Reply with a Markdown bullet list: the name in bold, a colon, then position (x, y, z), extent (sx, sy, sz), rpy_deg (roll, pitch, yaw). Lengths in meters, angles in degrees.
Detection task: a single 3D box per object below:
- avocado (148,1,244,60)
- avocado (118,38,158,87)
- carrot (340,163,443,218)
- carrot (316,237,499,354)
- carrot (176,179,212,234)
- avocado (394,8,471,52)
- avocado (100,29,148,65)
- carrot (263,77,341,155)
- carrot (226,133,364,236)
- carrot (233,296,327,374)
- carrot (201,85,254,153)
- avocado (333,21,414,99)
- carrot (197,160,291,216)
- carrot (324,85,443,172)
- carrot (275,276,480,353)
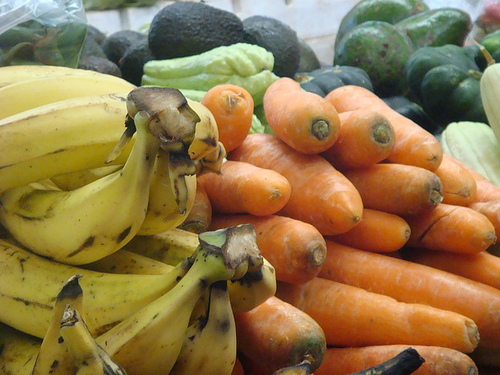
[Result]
- **avocado**: position (-0.208, -0.610, 2.038), extent (0.368, 0.193, 0.187), rpy_deg (-9, 26, -11)
- **avocado**: position (-0.457, -0.508, 2.213), extent (0.109, 0.217, 0.158), rpy_deg (21, 9, 26)
- **carrot**: position (0.407, 0.002, 1.443), extent (0.128, 0.139, 0.299), rpy_deg (-10, 9, -21)
- **carrot**: position (0.331, 0.242, 1.398), extent (0.584, 0.184, 0.170), rpy_deg (15, 7, 8)
- **carrot**: position (-0.142, 0.047, 1.355), extent (0.049, 0.132, 0.060), rpy_deg (-18, 30, -36)
- **avocado**: position (0.812, -0.687, 2.373), extent (0.312, 0.168, 0.168), rpy_deg (-8, 54, 0)
- **avocado**: position (-0.581, -0.659, 2.585), extent (0.200, 0.232, 0.184), rpy_deg (11, 24, 36)
- **carrot**: position (0.127, -0.212, 1.481), extent (0.157, 0.169, 0.353), rpy_deg (-7, 27, -12)
- **carrot**: position (0.138, -0.010, 1.433), extent (0.377, 0.169, 0.173), rpy_deg (39, 6, 32)
- **carrot**: position (0.064, 0.335, 1.182), extent (0.196, 0.109, 0.108), rpy_deg (15, 31, 34)
- **carrot**: position (-0.062, -0.193, 1.458), extent (0.181, 0.181, 0.190), rpy_deg (6, 4, 33)
- **avocado**: position (0.524, -0.510, 2.301), extent (0.274, 0.384, 0.306), rpy_deg (-4, 3, 14)
- **carrot**: position (-0.016, 0.013, 1.416), extent (0.138, 0.155, 0.314), rpy_deg (13, -8, -31)
- **carrot**: position (0.386, -0.196, 1.575), extent (0.158, 0.166, 0.425), rpy_deg (16, 12, -45)
- **carrot**: position (0.303, 0.321, 1.335), extent (0.519, 0.149, 0.144), rpy_deg (10, 32, 42)
